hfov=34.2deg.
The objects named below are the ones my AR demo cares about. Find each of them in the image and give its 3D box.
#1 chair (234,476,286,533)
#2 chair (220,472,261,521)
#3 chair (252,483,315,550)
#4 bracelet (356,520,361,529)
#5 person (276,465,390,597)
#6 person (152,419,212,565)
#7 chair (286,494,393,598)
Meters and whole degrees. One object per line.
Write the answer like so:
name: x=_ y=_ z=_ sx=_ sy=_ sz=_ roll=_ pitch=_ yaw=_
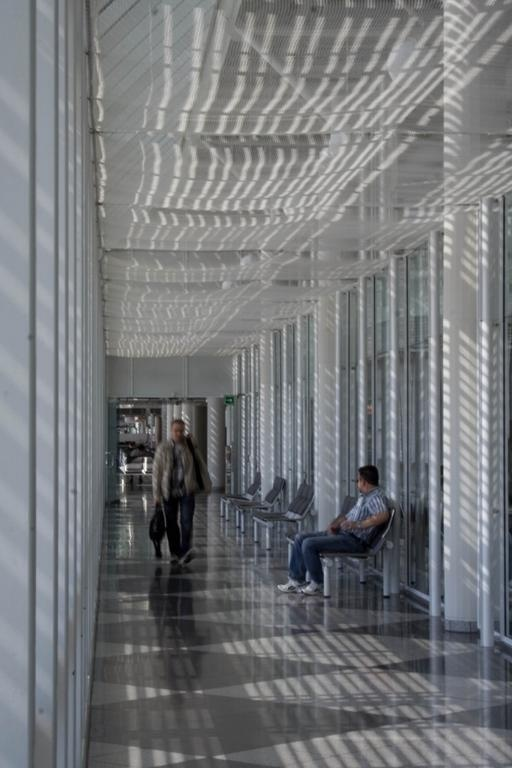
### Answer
chair: x=0.104 y=2.032 z=14.209 sx=0.851 sy=1.357 sz=0.794 roll=1 pitch=-6 yaw=-9
chair: x=-0.313 y=2.242 z=16.701 sx=0.752 sy=1.122 sz=0.759 roll=7 pitch=2 yaw=-23
chair: x=0.384 y=1.773 z=11.377 sx=0.685 sy=1.005 sz=0.663 roll=11 pitch=-4 yaw=-25
bracelet: x=0.994 y=1.365 z=8.061 sx=0.050 sy=0.082 sz=0.114 roll=2 pitch=-2 yaw=7
person: x=0.767 y=1.414 z=8.240 sx=0.815 sy=1.395 sz=0.636 roll=9 pitch=-11 yaw=-8
person: x=-0.900 y=1.284 z=9.939 sx=0.672 sy=1.702 sz=0.569 roll=2 pitch=-2 yaw=2
chair: x=0.749 y=1.548 z=8.344 sx=0.810 sy=1.153 sz=0.957 roll=11 pitch=-3 yaw=-9
